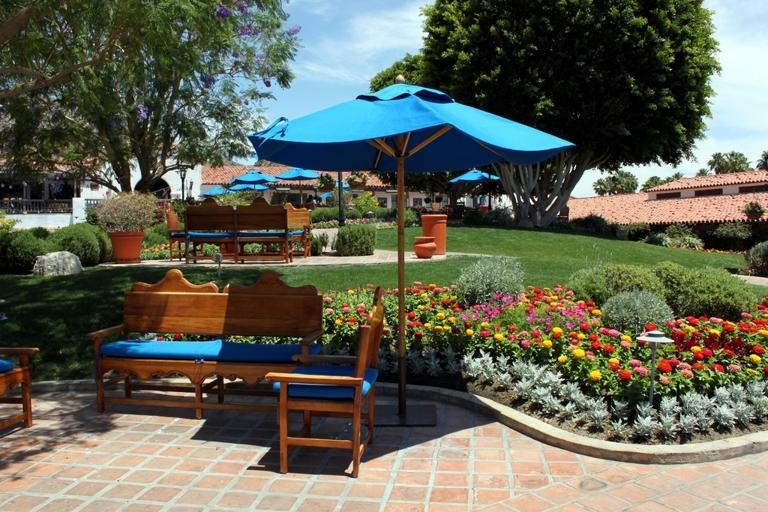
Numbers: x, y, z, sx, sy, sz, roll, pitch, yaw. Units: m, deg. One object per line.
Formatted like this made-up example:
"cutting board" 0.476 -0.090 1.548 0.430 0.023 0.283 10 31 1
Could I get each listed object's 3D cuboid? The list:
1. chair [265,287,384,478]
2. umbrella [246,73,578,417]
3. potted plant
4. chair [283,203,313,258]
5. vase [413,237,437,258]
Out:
"chair" -0.699 1.413 6.689 1.334 1.991 1.286 1 6 -1
"umbrella" 0.283 -0.653 8.760 5.439 4.506 5.005 -1 1 -4
"potted plant" -7.979 -0.802 17.586 2.034 2.007 1.713 -4 -9 14
"chair" -2.662 -0.814 16.442 0.697 1.263 2.035 5 2 14
"vase" 1.267 -0.278 17.003 0.691 0.498 0.646 4 -5 1
